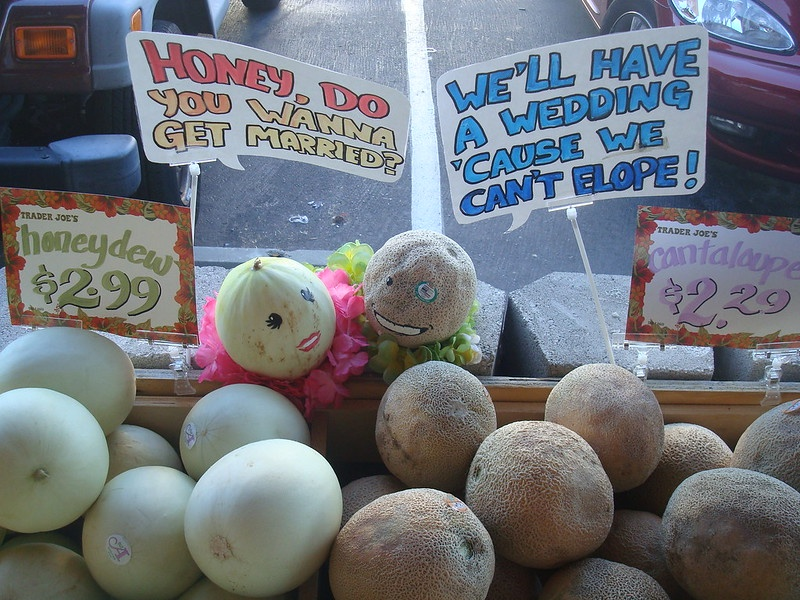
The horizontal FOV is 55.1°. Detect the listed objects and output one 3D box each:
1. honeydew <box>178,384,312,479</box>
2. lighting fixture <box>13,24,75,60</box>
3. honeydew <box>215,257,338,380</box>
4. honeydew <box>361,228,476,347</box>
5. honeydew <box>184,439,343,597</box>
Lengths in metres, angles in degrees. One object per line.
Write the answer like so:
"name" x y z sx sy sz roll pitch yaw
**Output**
"honeydew" -0.484 0.341 2.318 0.338 0.306 0.296 -7 40 -33
"lighting fixture" -1.522 -1.097 3.266 0.187 0.152 0.067 2 13 -5
"honeydew" -0.385 0.063 2.363 0.366 0.371 0.201 0 24 -5
"honeydew" 0.064 -0.008 2.542 0.321 0.369 0.378 -8 64 5
"honeydew" -0.363 0.595 2.048 0.412 0.344 0.258 -8 26 -20
